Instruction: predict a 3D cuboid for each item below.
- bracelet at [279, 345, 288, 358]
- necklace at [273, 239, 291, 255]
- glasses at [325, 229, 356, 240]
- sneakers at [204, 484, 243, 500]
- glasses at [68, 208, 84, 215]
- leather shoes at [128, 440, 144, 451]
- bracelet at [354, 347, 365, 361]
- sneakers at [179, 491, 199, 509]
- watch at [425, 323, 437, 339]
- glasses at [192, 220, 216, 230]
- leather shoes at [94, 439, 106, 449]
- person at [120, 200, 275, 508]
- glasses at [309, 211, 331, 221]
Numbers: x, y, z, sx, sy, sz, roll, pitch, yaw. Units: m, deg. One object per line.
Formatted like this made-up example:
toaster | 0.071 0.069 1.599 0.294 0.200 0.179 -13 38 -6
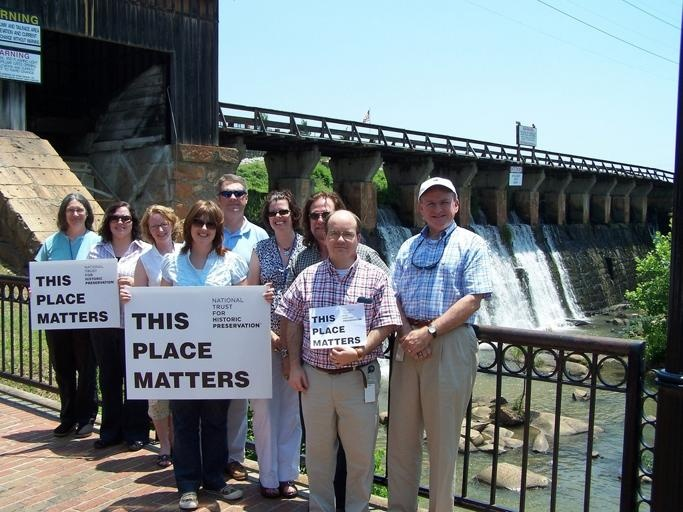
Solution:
bracelet | -0.502 0.821 5.124 0.058 0.093 0.089 1 30 -9
necklace | -0.514 -0.074 5.355 0.104 0.134 0.028 -3 -8 -5
glasses | 0.015 -0.160 4.665 0.256 0.090 0.127 3 3 -7
sneakers | -1.032 2.021 5.239 0.298 0.132 0.130 5 7 15
glasses | -2.779 -0.470 6.240 0.073 0.052 0.110 -3 -18 -10
leather shoes | -2.096 1.923 6.076 0.064 0.083 0.192 18 -3 4
bracelet | 0.143 0.742 4.592 0.055 0.098 0.096 -4 42 4
sneakers | -1.299 2.074 5.051 0.139 0.122 0.106 2 3 -22
watch | 0.686 0.559 4.475 0.056 0.102 0.089 -10 -14 -15
glasses | -1.195 -0.274 5.186 0.183 0.072 0.053 2 3 -23
leather shoes | -2.474 1.919 6.094 0.063 0.058 0.133 0 -20 4
person | -1.214 0.822 5.265 0.754 2.605 0.574 1 2 -19
glasses | -0.190 -0.342 5.051 0.095 0.042 0.109 -1 -15 10
